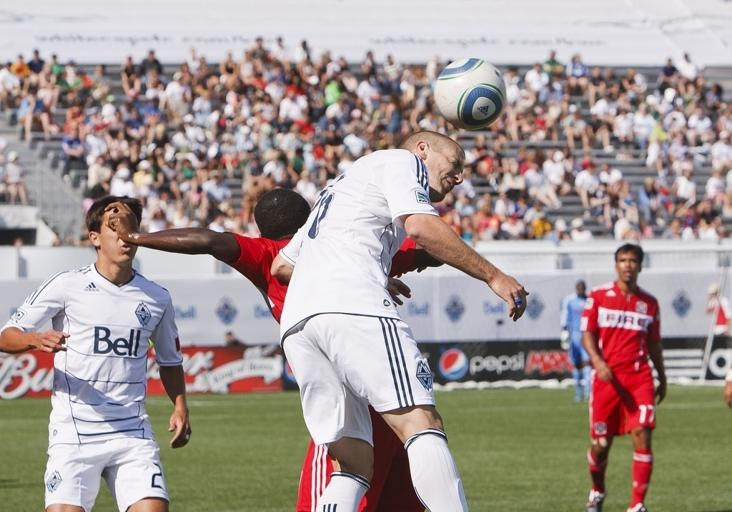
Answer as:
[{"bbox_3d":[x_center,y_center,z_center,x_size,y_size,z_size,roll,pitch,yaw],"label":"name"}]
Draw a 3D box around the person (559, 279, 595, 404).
[{"bbox_3d":[4.663,1.880,37.041,0.621,2.708,0.965,-1,9,-14],"label":"person"}]
